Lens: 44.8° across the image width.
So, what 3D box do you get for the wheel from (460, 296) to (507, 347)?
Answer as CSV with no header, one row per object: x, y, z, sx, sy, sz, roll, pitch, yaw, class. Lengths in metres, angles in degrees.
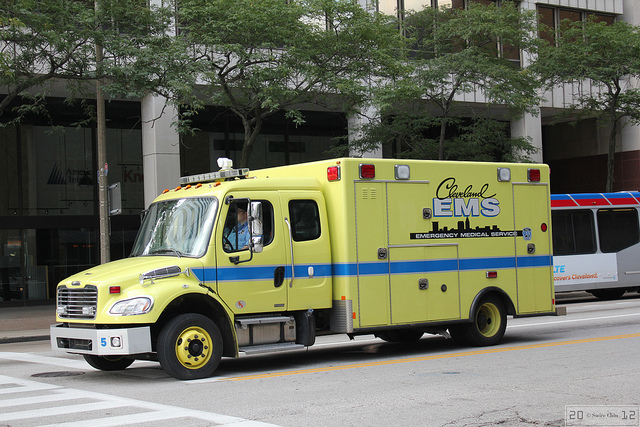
3.869,2.518,18.094,1.246,1.153,0.431,-3,16,-29,wheel

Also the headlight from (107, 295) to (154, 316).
-3.592,1.767,14.809,0.655,0.447,0.246,-6,-2,-12,headlight

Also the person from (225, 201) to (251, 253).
-1.670,0.272,15.854,0.488,0.990,0.449,3,14,-8,person

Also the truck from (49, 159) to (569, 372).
-0.021,1.261,17.944,11.013,3.878,4.556,3,-8,-30,truck

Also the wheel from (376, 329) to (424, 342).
1.971,2.965,18.831,0.698,0.215,0.676,1,-4,0,wheel
